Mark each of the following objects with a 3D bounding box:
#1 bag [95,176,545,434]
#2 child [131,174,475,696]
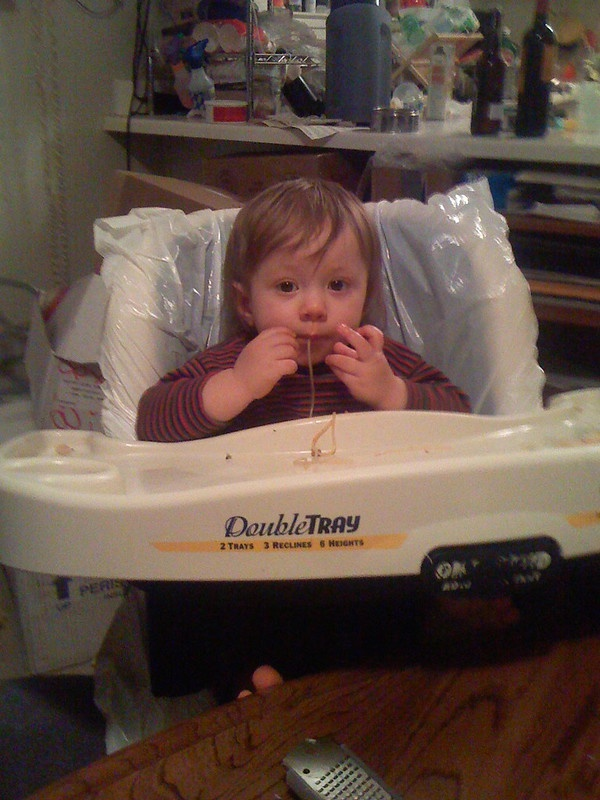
[{"bbox_3d":[0.000,-0.072,0.607,0.250,0.280,0.241,-1,-19,-8],"label":"bag"},{"bbox_3d":[0.003,-0.011,0.600,0.271,0.331,0.194,-2,12,-10],"label":"child"}]
